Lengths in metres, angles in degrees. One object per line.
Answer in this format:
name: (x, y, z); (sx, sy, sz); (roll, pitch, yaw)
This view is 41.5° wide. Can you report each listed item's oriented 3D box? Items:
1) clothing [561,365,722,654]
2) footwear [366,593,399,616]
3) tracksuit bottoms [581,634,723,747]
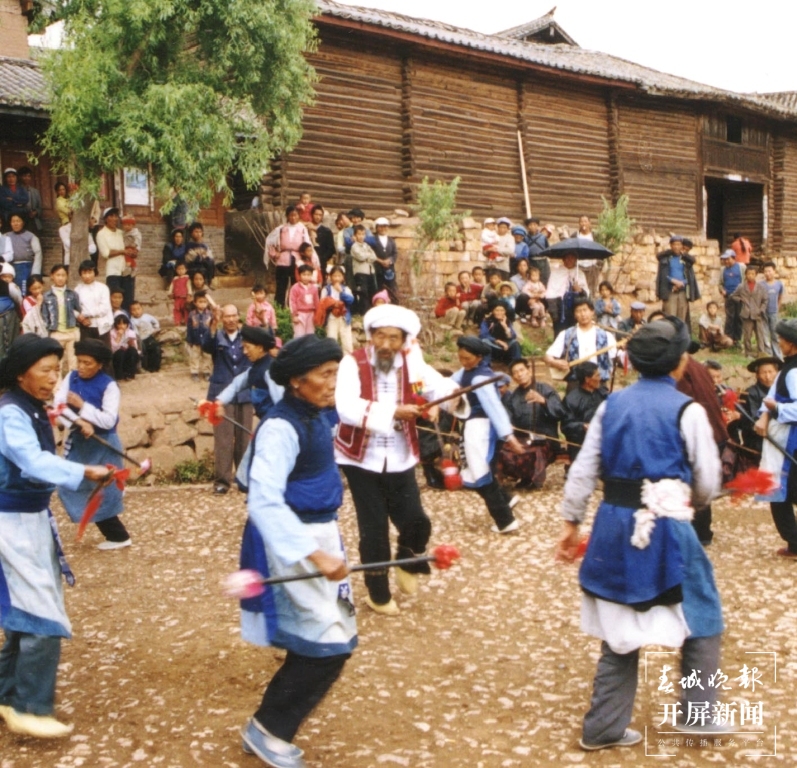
clothing: (1.186, 0.626, 5.062); (0.757, 1.270, 0.471); (1, 13, 7)
footwear: (-0.092, 1.392, 6.703); (0.192, 0.061, 0.104); (5, 15, 31)
tracksuit bottoms: (1.282, 1.533, 5.221); (0.774, 0.659, 0.247); (1, 11, -6)
